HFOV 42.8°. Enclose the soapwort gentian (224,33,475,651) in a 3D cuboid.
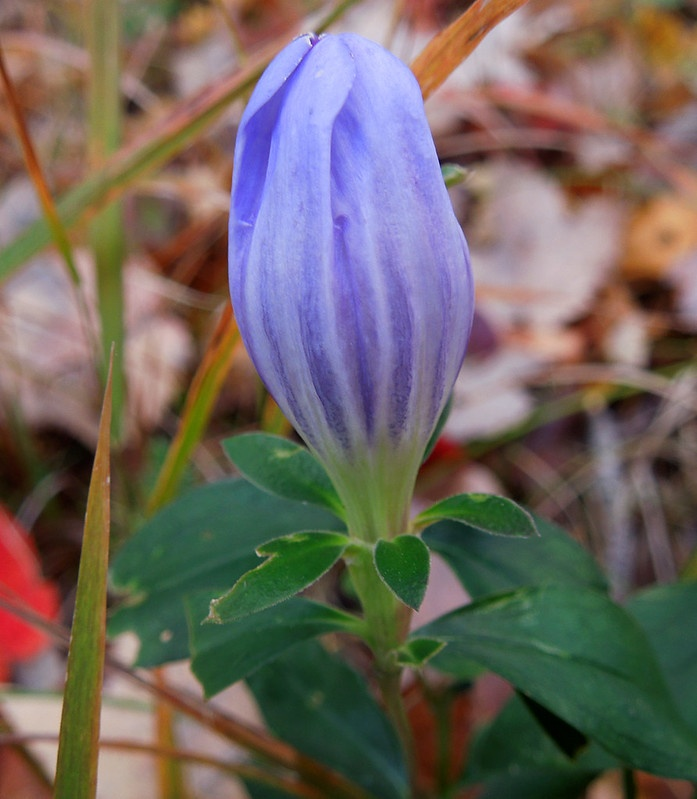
[{"bbox_3d":[-0.001,-0.048,0.470,0.118,0.244,0.191,-10,-18,-15],"label":"soapwort gentian"}]
